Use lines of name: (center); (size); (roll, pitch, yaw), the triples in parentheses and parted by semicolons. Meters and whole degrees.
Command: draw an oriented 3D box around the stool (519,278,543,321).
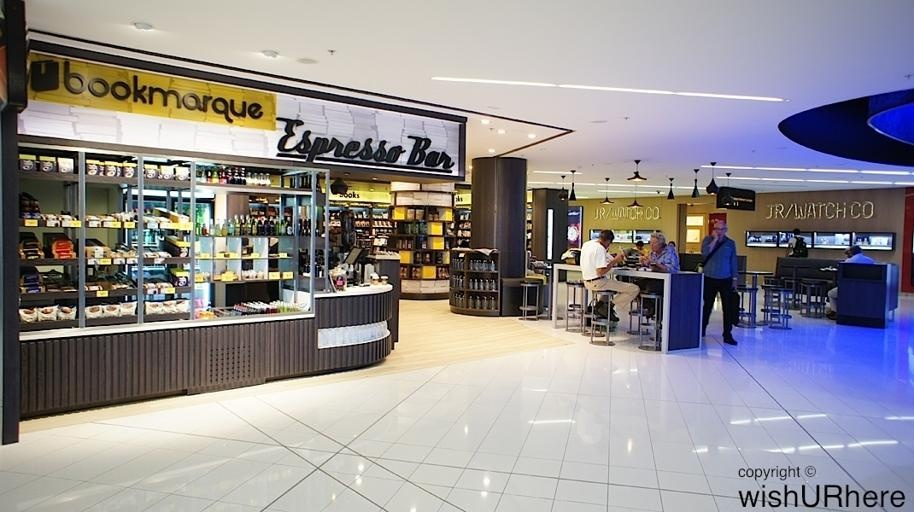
stool: (1.923, 1.083, 15.157); (0.599, 0.998, 0.840); (1, 3, 7)

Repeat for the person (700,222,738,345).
person: (5.816, 0.567, 12.907); (0.745, 2.667, 0.613); (2, 4, 25)

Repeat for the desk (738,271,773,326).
desk: (8.262, 1.190, 16.180); (1.400, 1.279, 1.524); (0, 0, 17)

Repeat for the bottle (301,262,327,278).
bottle: (-2.580, 0.248, 10.476); (0.286, 0.371, 0.473); (-1, 2, -23)

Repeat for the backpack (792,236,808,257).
backpack: (11.508, -0.333, 19.574); (0.397, 0.645, 0.733); (2, 4, 23)

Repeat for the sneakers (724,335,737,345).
sneakers: (5.974, 1.825, 12.816); (0.326, 0.263, 0.148); (-2, -1, 26)

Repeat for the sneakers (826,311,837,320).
sneakers: (10.293, 1.631, 16.038); (0.284, 0.206, 0.190); (1, 3, -25)

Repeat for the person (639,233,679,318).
person: (4.314, 0.364, 12.530); (1.031, 1.569, 0.930); (-1, 3, -4)

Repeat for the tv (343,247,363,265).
tv: (-2.029, 0.002, 11.447); (0.369, 0.314, 0.097); (4, -29, 42)
